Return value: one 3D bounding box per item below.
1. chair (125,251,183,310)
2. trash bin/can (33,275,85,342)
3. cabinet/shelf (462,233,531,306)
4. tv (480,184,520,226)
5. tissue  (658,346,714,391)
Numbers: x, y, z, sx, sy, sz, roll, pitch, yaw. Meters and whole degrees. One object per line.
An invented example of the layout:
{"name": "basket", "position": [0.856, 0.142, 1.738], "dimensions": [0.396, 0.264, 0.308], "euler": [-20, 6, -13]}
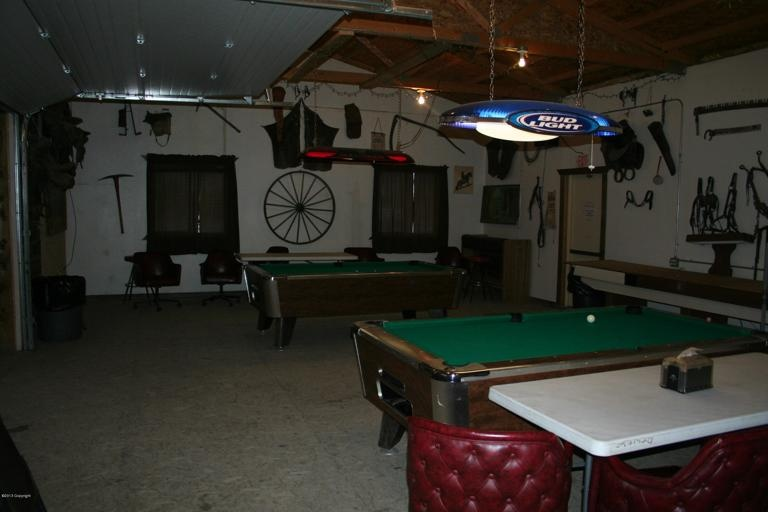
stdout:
{"name": "chair", "position": [-3.665, 0.354, 9.054], "dimensions": [0.992, 0.984, 0.902], "euler": [2, -2, -35]}
{"name": "trash bin/can", "position": [-3.966, 0.616, 7.004], "dimensions": [0.571, 0.805, 0.309], "euler": [-3, 12, -23]}
{"name": "cabinet/shelf", "position": [1.989, 0.254, 10.017], "dimensions": [0.453, 0.859, 1.140], "euler": [-4, 10, -21]}
{"name": "tv", "position": [2.175, -0.996, 10.815], "dimensions": [0.266, 0.757, 1.079], "euler": [-2, 11, -19]}
{"name": "tissue ", "position": [1.790, 0.664, 3.456], "dimensions": [0.354, 0.307, 0.194], "euler": [-1, 2, -28]}
